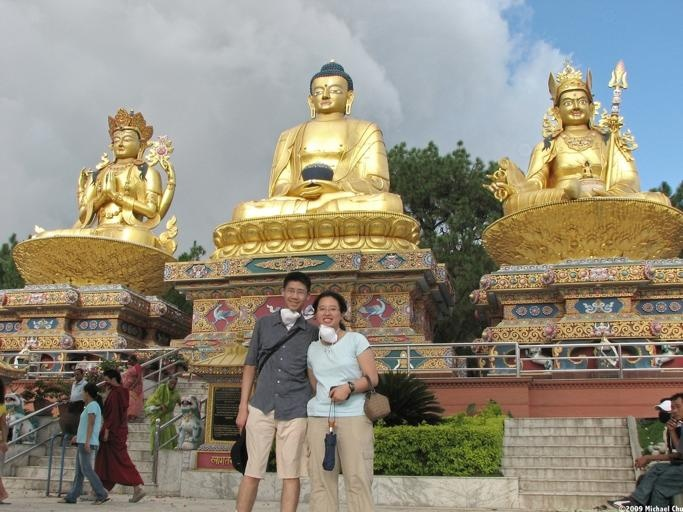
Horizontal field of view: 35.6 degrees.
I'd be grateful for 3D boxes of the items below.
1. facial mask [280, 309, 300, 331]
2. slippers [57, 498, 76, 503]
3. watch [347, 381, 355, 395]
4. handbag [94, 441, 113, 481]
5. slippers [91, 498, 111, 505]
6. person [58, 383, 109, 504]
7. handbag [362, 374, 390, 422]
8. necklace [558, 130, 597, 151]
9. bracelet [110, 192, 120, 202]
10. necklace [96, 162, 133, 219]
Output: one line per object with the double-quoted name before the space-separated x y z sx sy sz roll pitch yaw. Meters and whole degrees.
"facial mask" -0.531 0.683 11.596 0.215 0.173 0.218 8 -29 3
"slippers" -3.456 3.061 13.402 0.251 0.092 0.083 -6 -9 27
"watch" 0.112 1.358 11.144 0.082 0.104 0.098 -2 -21 -13
"handbag" -3.058 2.613 13.839 0.127 0.458 0.093 2 -10 -10
"slippers" -3.018 3.070 13.392 0.248 0.093 0.090 -16 -7 28
"person" -3.196 2.379 13.645 0.566 1.543 0.494 5 -18 -11
"handbag" 0.387 1.522 11.291 0.262 0.460 0.359 0 -17 1
"necklace" 4.840 -2.333 21.701 0.679 0.544 0.118 2 -52 9
"bracelet" -5.035 -1.329 23.991 0.248 0.099 0.167 16 -32 34
"necklace" -5.136 -1.447 24.139 0.958 1.525 0.406 -8 -20 26
